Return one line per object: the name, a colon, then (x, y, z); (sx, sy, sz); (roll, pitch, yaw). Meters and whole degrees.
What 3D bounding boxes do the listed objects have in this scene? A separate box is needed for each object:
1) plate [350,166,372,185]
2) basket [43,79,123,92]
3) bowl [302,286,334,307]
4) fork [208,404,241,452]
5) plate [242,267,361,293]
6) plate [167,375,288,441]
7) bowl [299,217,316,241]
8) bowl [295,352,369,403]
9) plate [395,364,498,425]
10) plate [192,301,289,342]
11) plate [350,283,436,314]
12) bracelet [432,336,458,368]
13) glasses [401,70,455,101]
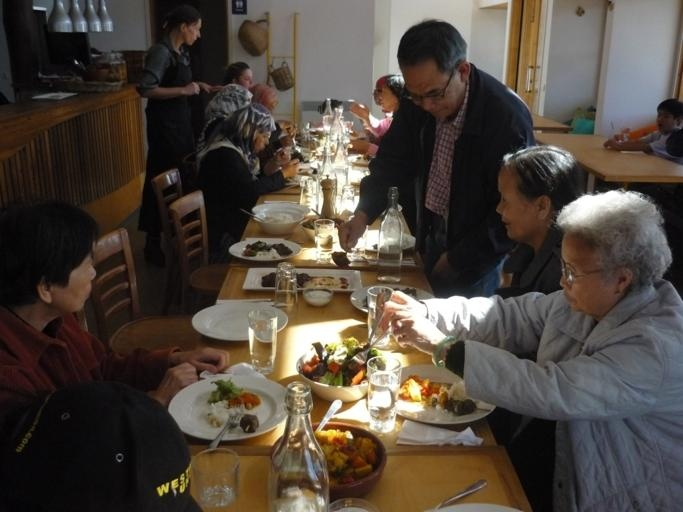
plate: (0.139, -0.689, 4.311); (0.245, 0.068, 0.281); (4, 29, 6)
basket: (-2.748, -1.786, 5.284); (0.730, 0.119, 0.340); (-7, 24, -22)
bowl: (-0.098, 0.167, 2.095); (0.079, 0.041, 0.084); (-1, 17, 0)
fork: (-0.316, 0.460, 1.361); (0.025, 0.023, 0.155); (21, 26, 3)
plate: (-0.182, 0.111, 2.276); (0.338, 0.038, 0.214); (0, 23, -3)
plate: (-0.330, 0.433, 1.454); (0.240, 0.027, 0.247); (-2, 26, -13)
bowl: (-0.186, -0.159, 2.888); (0.113, 0.082, 0.117); (1, 22, 0)
bowl: (-0.046, 0.392, 1.528); (0.152, 0.048, 0.148); (1, 7, 0)
plate: (0.262, 0.359, 1.446); (0.178, 0.022, 0.187); (20, 29, 39)
plate: (-0.439, 0.243, 1.961); (0.209, 0.025, 0.209); (-8, 30, -27)
plate: (0.177, 0.166, 2.135); (0.177, 0.028, 0.180); (-4, 18, -15)
bracelet: (0.304, 0.284, 1.503); (0.028, 0.084, 0.074); (26, 43, 23)
glasses: (0.446, -0.789, 2.368); (0.150, 0.049, 0.159); (2, 46, 54)
